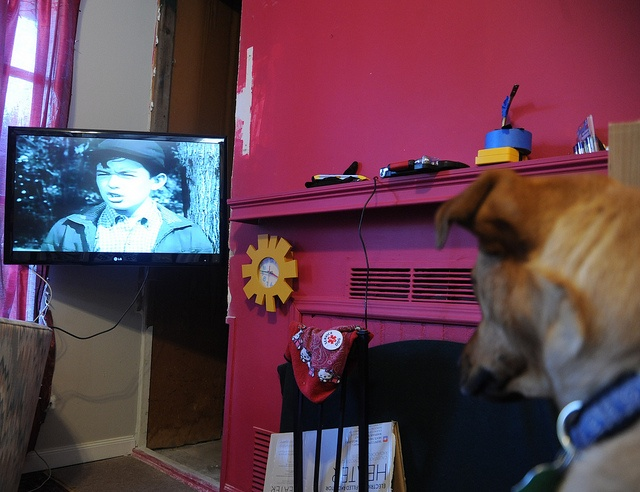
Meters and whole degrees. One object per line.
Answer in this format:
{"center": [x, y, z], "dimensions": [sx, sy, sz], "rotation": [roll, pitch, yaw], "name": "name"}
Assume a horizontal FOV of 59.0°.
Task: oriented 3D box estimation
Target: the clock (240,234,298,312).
{"center": [-0.217, 0.130, 2.528], "dimensions": [0.325, 0.362, 0.024], "rotation": [-2, -6, 44], "name": "clock"}

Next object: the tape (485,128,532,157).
{"center": [0.641, -0.327, 1.899], "dimensions": [0.099, 0.049, 0.099], "rotation": [2, -1, 41], "name": "tape"}
